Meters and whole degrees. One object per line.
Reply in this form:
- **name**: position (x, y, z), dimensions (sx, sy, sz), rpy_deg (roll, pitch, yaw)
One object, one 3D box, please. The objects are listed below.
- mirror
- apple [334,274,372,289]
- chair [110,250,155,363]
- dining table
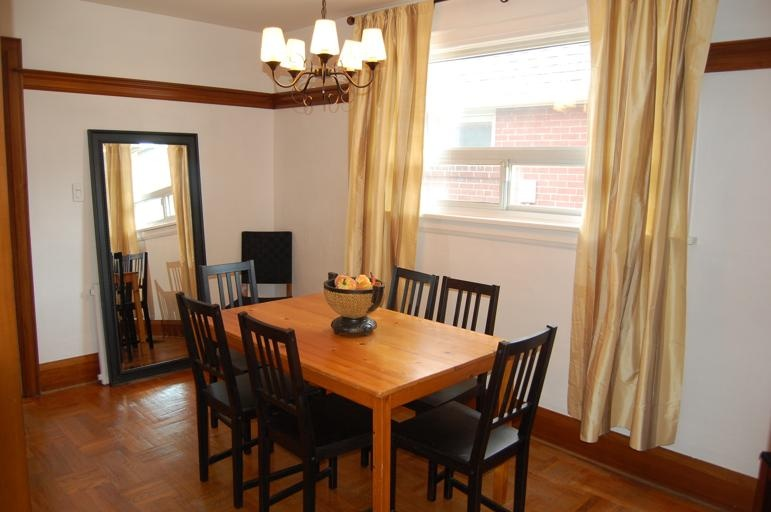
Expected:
- **mirror**: position (-2.336, -0.069, 4.969), dimensions (1.071, 2.404, 0.090), rpy_deg (5, -10, -13)
- **apple**: position (-0.202, 0.166, 3.448), dimensions (0.253, 0.069, 0.192), rpy_deg (-3, 11, -2)
- **chair**: position (-2.318, 0.444, 4.949), dimensions (0.290, 0.976, 0.143), rpy_deg (-8, 13, -25)
- **dining table**: position (-0.039, 0.335, 3.366), dimensions (1.241, 0.971, 1.946), rpy_deg (-9, 15, -41)
